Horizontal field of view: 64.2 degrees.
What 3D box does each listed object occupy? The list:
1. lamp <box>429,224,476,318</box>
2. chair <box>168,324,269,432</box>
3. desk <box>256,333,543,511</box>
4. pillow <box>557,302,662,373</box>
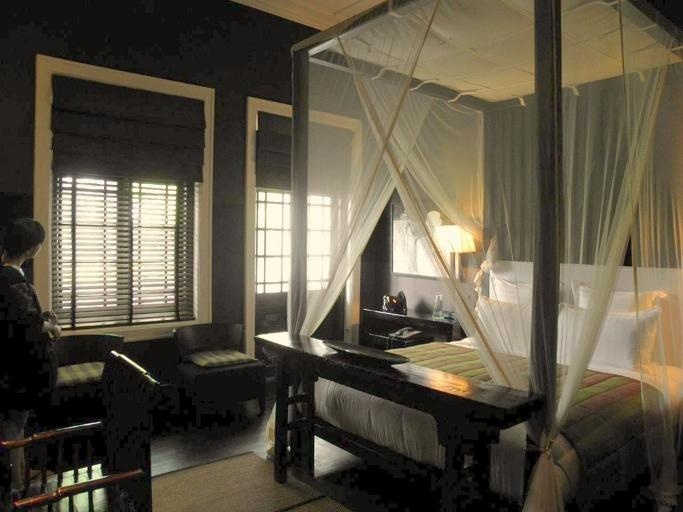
[{"bbox_3d":[0.606,0.003,2.973,0.253,0.442,0.264,-2,3,-14],"label":"lamp"},{"bbox_3d":[-1.123,0.974,4.816,0.755,0.878,0.751,0,-1,-37],"label":"chair"},{"bbox_3d":[0.244,1.021,3.201,0.508,0.957,1.820,-4,2,-41],"label":"desk"},{"bbox_3d":[1.549,0.447,3.077,0.095,0.345,0.493,2,-2,-35],"label":"pillow"}]
